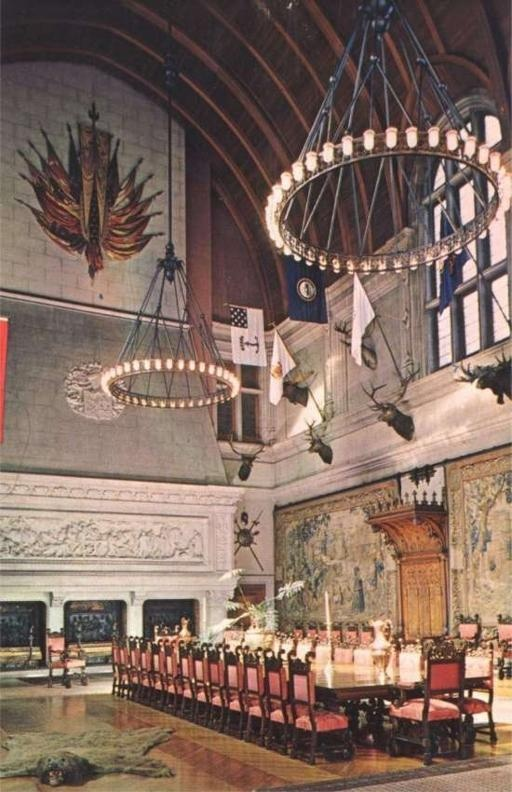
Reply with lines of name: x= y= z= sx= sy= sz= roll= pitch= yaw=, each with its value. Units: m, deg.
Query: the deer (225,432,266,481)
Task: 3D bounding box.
deer: x=-0.236 y=1.373 z=23.957 sx=0.551 sy=1.019 sz=0.889 roll=-8 pitch=-14 yaw=30

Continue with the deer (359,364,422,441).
deer: x=2.282 y=0.264 z=19.058 sx=0.519 sy=1.360 sz=1.655 roll=1 pitch=-13 yaw=-10

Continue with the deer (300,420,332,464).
deer: x=1.243 y=0.912 z=21.534 sx=0.172 sy=0.797 sz=0.358 roll=25 pitch=-59 yaw=-26

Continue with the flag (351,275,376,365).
flag: x=1.620 y=-1.203 z=17.443 sx=0.273 sy=2.396 sz=0.247 roll=1 pitch=-7 yaw=-18
